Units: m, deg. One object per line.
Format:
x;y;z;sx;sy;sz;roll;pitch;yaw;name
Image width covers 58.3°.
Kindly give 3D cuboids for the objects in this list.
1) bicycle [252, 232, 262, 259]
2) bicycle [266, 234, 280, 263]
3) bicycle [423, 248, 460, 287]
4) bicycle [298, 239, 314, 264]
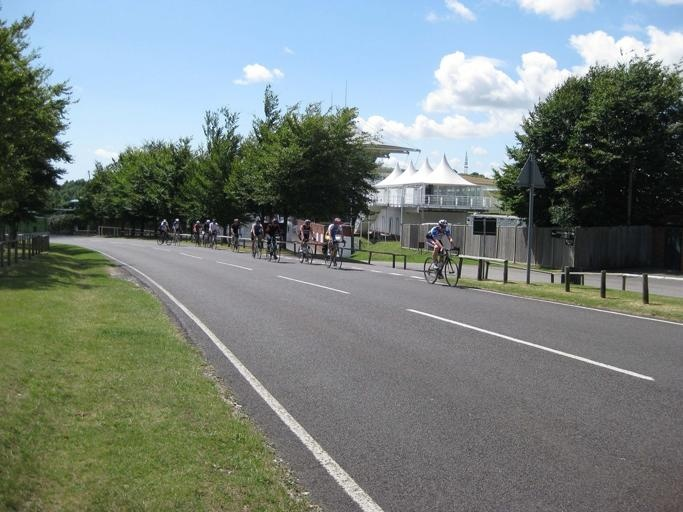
-4.782;-0.583;34.358;0.574;0.904;1.315;0;2;-16;bicycle
-3.416;-0.434;30.698;0.545;0.868;1.222;0;2;-19;bicycle
3.385;0.266;20.424;1.086;1.320;2.700;3;7;11;bicycle
-1.686;-0.171;30.171;0.552;0.881;1.226;-1;2;-25;bicycle
